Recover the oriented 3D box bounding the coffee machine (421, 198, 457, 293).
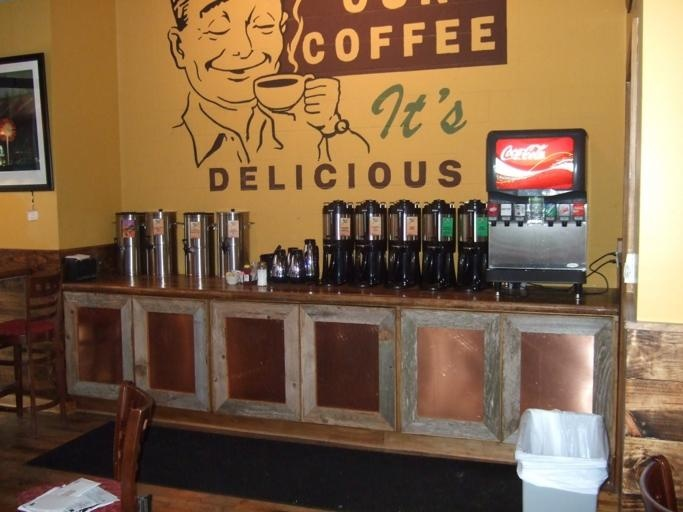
[{"bbox_3d":[0.741,-0.080,4.902,0.250,0.656,0.240,1,11,9],"label":"coffee machine"}]

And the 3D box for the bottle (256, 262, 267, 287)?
[{"bbox_3d":[-0.632,0.157,5.161,0.080,0.166,0.196,-3,12,-9],"label":"bottle"}]

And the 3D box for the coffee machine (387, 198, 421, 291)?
[{"bbox_3d":[0.480,-0.086,4.968,0.232,0.648,0.226,0,11,5],"label":"coffee machine"}]

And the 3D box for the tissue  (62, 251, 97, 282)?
[{"bbox_3d":[-2.228,0.107,5.512,0.273,0.211,0.310,-6,14,-24],"label":"tissue "}]

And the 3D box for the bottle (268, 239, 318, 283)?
[{"bbox_3d":[-0.392,0.046,5.297,0.397,0.327,0.212,-1,11,0],"label":"bottle"}]

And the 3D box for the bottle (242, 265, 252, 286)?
[{"bbox_3d":[-0.777,0.145,5.323,0.076,0.134,0.200,-3,13,-10],"label":"bottle"}]

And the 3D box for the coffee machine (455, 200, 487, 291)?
[{"bbox_3d":[0.982,-0.078,4.833,0.215,0.637,0.223,2,11,11],"label":"coffee machine"}]

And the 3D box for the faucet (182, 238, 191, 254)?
[{"bbox_3d":[-1.365,-0.088,5.685,0.049,0.154,0.184,-6,13,-24],"label":"faucet"}]

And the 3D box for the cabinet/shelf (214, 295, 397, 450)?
[{"bbox_3d":[-0.297,0.660,5.276,1.379,0.969,1.148,2,13,0],"label":"cabinet/shelf"}]

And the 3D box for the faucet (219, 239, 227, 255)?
[{"bbox_3d":[-0.999,-0.071,5.506,0.081,0.126,0.080,-2,8,-23],"label":"faucet"}]

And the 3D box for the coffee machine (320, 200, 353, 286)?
[{"bbox_3d":[-0.030,-0.097,5.112,0.242,0.639,0.166,-1,11,-2],"label":"coffee machine"}]

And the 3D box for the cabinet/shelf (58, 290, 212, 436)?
[{"bbox_3d":[-1.620,0.729,5.391,1.205,0.874,0.407,3,8,10],"label":"cabinet/shelf"}]

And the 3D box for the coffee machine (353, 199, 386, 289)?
[{"bbox_3d":[0.230,-0.094,5.059,0.233,0.640,0.260,0,11,2],"label":"coffee machine"}]
